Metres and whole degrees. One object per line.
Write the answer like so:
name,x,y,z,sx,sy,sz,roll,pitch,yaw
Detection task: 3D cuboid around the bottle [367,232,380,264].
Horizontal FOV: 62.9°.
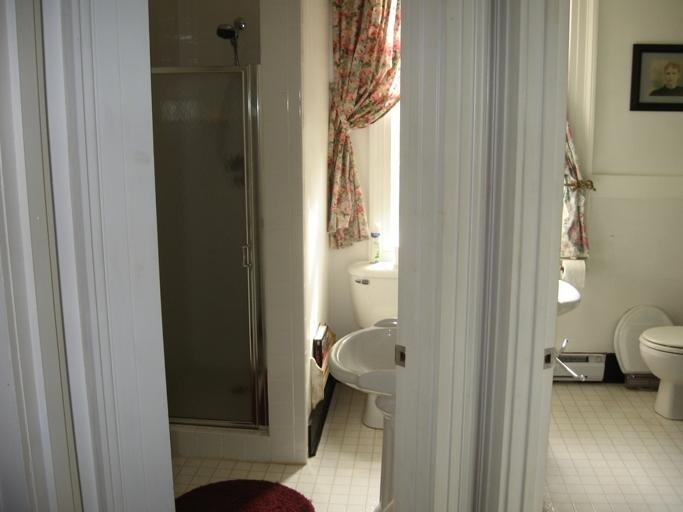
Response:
bottle,0.202,-0.056,3.400,0.062,0.179,0.064,-2,13,1

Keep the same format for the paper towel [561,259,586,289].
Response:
paper towel,1.358,0.098,3.271,0.153,0.207,0.020,0,19,9

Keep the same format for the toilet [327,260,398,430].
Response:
toilet,0.208,0.353,2.649,0.372,0.578,0.798,0,4,5
